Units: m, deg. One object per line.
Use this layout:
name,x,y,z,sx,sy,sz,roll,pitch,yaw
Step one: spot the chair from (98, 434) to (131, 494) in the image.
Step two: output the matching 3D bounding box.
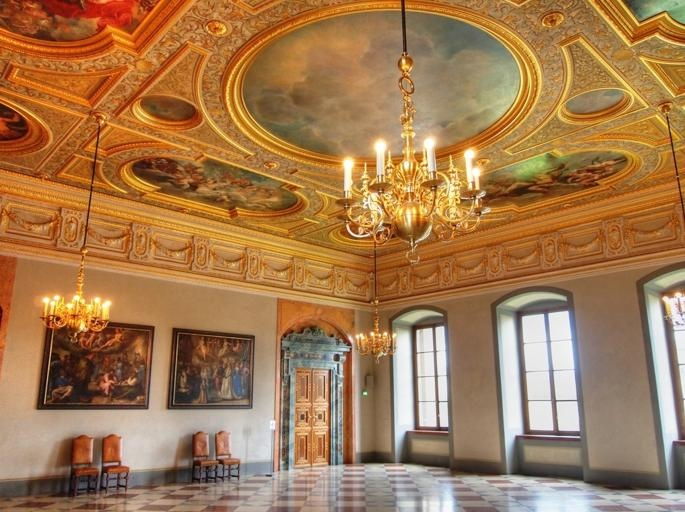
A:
chair,-5.136,4.703,10.879,0.673,1.169,1.141,7,-21,-19
